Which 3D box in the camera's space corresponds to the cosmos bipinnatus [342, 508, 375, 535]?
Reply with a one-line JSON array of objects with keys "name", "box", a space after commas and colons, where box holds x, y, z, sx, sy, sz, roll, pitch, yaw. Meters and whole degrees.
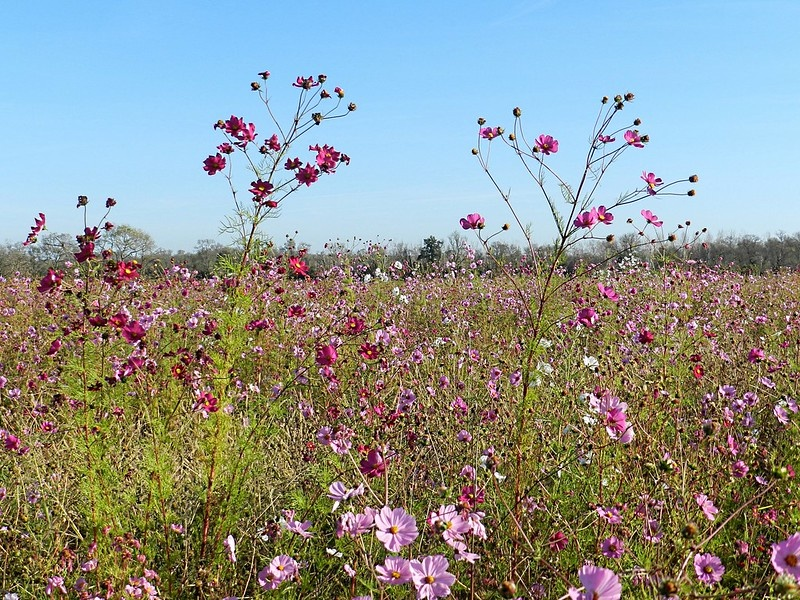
[{"name": "cosmos bipinnatus", "box": [-0.219, 1.175, 3.626, 0.130, 0.105, 0.149, 13, 17, 15]}]

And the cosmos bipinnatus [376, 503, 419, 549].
[{"name": "cosmos bipinnatus", "box": [-0.025, 1.178, 3.564, 0.222, 0.111, 0.264, 10, 8, 3]}]

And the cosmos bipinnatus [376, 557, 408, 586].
[{"name": "cosmos bipinnatus", "box": [-0.032, 1.390, 3.524, 0.169, 0.146, 0.213, -2, 2, -5]}]

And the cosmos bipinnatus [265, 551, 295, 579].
[{"name": "cosmos bipinnatus", "box": [-0.631, 1.457, 3.752, 0.110, 0.139, 0.043, 11, -25, -36]}]
